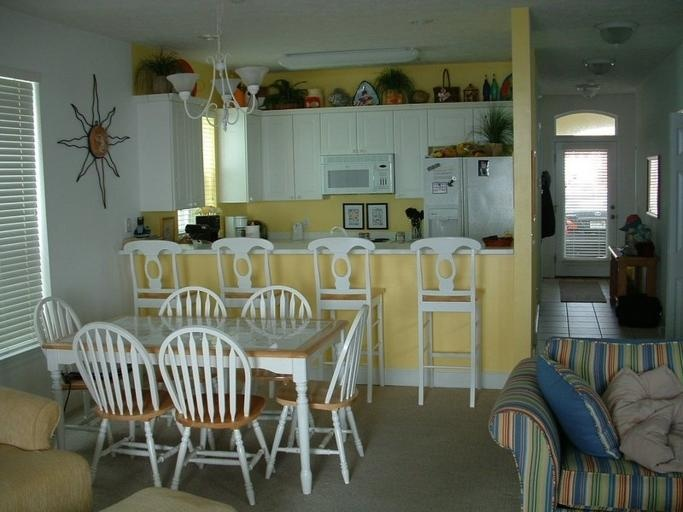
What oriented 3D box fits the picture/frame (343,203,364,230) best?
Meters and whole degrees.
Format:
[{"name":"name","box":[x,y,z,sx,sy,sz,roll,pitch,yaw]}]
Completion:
[{"name":"picture/frame","box":[0.156,-0.526,7.317,0.382,0.462,0.019,1,5,10]}]

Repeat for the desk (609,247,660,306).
[{"name":"desk","box":[3.992,0.247,7.956,0.464,0.741,1.368,-1,11,17]}]

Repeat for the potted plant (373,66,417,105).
[{"name":"potted plant","box":[0.636,-2.087,6.853,0.450,0.453,0.451,2,12,13]}]

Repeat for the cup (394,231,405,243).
[{"name":"cup","box":[0.658,-0.214,6.572,0.163,0.154,0.103,1,3,33]}]

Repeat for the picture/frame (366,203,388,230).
[{"name":"picture/frame","box":[0.457,-0.527,7.242,0.338,0.429,0.028,1,11,11]}]

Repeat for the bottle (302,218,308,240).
[{"name":"bottle","box":[-0.498,-0.356,7.380,0.117,0.263,0.217,-1,9,2]}]

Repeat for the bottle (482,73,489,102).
[{"name":"bottle","box":[1.745,-2.034,6.818,0.103,0.328,0.245,1,10,13]}]

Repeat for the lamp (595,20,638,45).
[{"name":"lamp","box":[2.561,-2.092,5.335,0.217,0.105,0.216,0,1,-5]}]

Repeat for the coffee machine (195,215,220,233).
[{"name":"coffee machine","box":[-1.490,-0.387,6.248,0.308,0.204,0.164,1,6,8]}]

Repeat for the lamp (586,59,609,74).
[{"name":"lamp","box":[2.863,-2.115,6.345,0.232,0.091,0.231,-1,9,2]}]

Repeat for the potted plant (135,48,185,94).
[{"name":"potted plant","box":[-1.840,-1.905,5.834,0.409,0.410,0.370,-1,5,-36]}]

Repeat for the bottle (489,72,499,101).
[{"name":"bottle","box":[1.856,-2.054,6.831,0.095,0.338,0.168,1,10,14]}]

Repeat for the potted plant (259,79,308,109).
[{"name":"potted plant","box":[-0.726,-2.028,7.141,0.481,0.329,0.477,0,2,-17]}]

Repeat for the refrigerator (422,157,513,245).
[{"name":"refrigerator","box":[1.434,-0.642,6.258,1.047,1.025,0.402,0,4,8]}]

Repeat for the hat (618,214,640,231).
[{"name":"hat","box":[3.916,-0.444,7.631,0.210,0.221,0.466,4,10,27]}]

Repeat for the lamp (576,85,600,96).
[{"name":"lamp","box":[3.610,-2.448,8.302,0.342,0.086,0.362,2,5,40]}]

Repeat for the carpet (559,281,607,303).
[{"name":"carpet","box":[3.864,0.555,9.138,0.652,0.015,1.824,2,9,20]}]

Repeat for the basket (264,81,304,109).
[{"name":"basket","box":[-0.740,-2.015,7.136,0.436,0.303,0.434,2,10,7]}]
